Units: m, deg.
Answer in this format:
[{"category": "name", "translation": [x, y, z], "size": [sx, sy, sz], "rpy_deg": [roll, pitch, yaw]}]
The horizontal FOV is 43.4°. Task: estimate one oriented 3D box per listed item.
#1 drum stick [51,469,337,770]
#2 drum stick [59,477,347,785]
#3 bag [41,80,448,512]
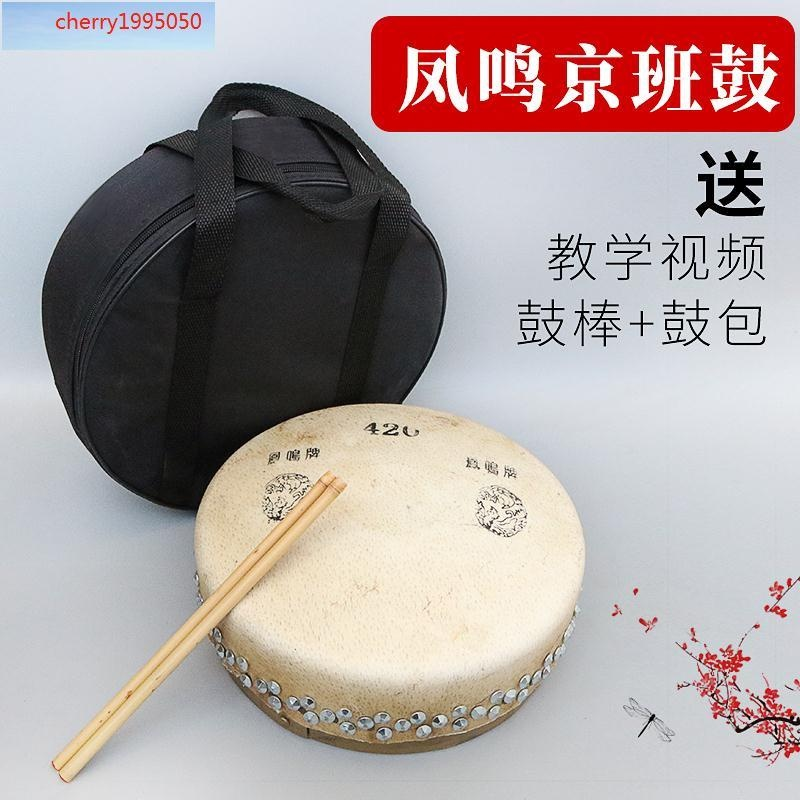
[{"category": "drum stick", "translation": [-0.257, 0.305, 1.339], "size": [0.058, 0.597, 0.073], "rpy_deg": [44, -13, 19]}, {"category": "drum stick", "translation": [-0.245, 0.318, 1.324], "size": [0.048, 0.629, 0.071], "rpy_deg": [44, -15, 16]}, {"category": "bag", "translation": [-0.228, -0.122, 1.489], "size": [0.596, 0.547, 0.313], "rpy_deg": [-20, 46, -26]}]
